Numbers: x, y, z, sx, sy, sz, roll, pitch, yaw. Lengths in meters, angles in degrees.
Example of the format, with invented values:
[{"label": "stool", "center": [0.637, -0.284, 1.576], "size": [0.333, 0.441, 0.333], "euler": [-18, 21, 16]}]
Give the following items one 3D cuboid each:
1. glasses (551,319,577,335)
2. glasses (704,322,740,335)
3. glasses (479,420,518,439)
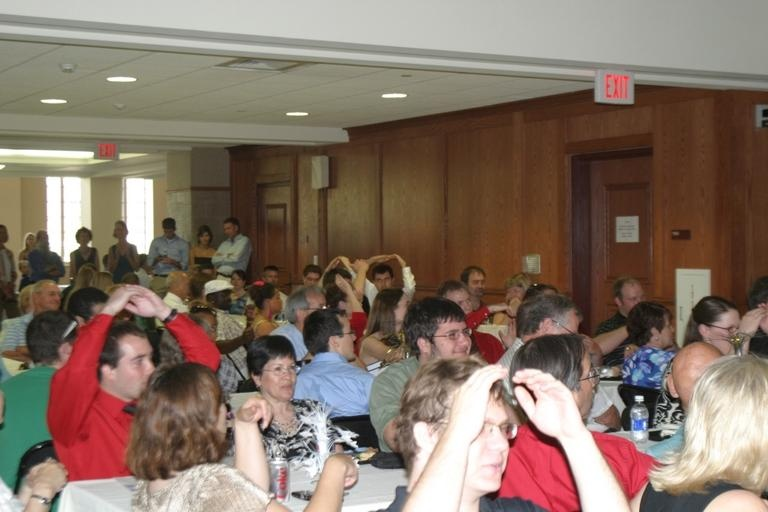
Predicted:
[{"label": "glasses", "center": [1.176, 0.462, 4.055], "size": [0.129, 0.037, 0.126], "euler": [22, -1, 14]}, {"label": "glasses", "center": [2.491, 0.549, 4.607], "size": [0.141, 0.043, 0.137], "euler": [0, -10, -21]}, {"label": "glasses", "center": [0.367, 0.541, 1.980], "size": [0.109, 0.033, 0.107], "euler": [-8, -10, 40]}]
